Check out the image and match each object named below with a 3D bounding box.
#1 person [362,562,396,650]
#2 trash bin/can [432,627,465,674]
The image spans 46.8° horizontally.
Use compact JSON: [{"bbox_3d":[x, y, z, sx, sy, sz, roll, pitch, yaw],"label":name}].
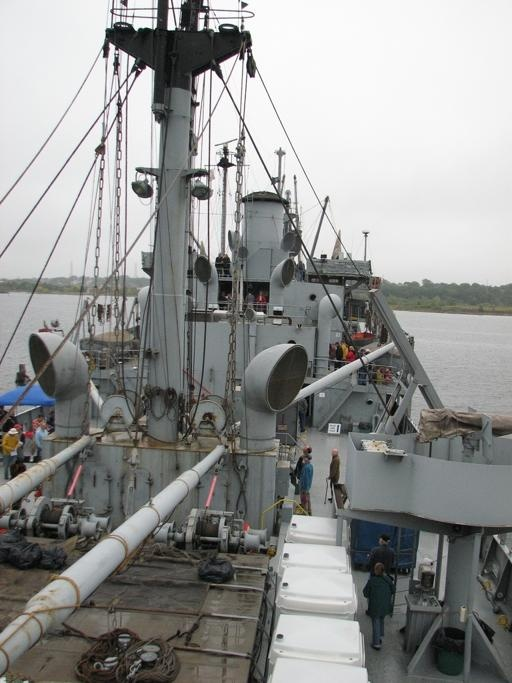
[{"bbox_3d":[1.513,3.254,7.351,0.362,1.088,0.510,2,2,13],"label":"person"},{"bbox_3d":[2.206,3.546,6.800,0.385,0.499,0.391,-4,-3,36],"label":"trash bin/can"}]
